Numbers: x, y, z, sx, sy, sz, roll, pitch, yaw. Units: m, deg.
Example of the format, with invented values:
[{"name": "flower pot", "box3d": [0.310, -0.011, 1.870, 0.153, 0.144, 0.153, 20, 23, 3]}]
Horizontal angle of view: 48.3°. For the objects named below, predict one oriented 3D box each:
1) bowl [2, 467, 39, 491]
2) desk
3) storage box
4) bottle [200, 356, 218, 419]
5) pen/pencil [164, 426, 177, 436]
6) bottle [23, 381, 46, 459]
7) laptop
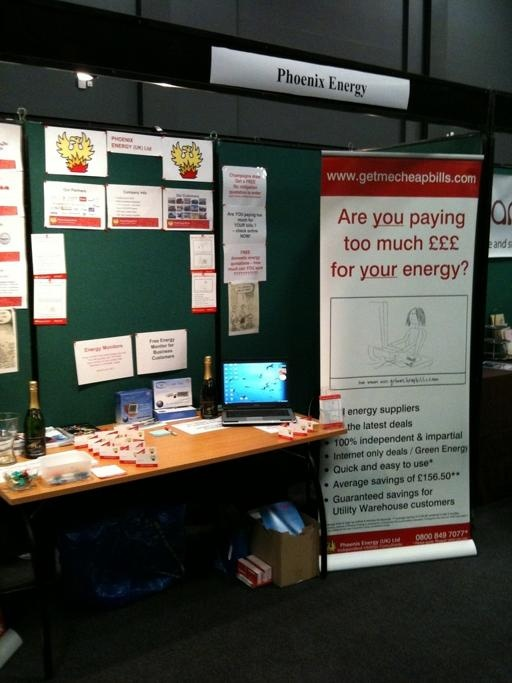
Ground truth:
[{"name": "bowl", "box3d": [-0.807, 0.465, 1.952, 0.108, 0.068, 0.119, 1, 7, 0]}, {"name": "desk", "box3d": [-0.335, 0.769, 2.355, 0.566, 0.753, 1.584, 7, 9, 44]}, {"name": "storage box", "box3d": [0.140, 1.003, 2.787, 0.238, 0.261, 0.285, -2, -2, -41]}, {"name": "bottle", "box3d": [-0.244, 0.229, 2.941, 0.082, 0.304, 0.173, 0, 6, -4]}, {"name": "pen/pencil", "box3d": [-0.406, 0.419, 2.694, 0.022, 0.024, 0.122, -21, 16, -27]}, {"name": "bottle", "box3d": [-0.900, 0.309, 2.299, 0.082, 0.303, 0.139, -2, 6, -21]}, {"name": "laptop", "box3d": [0.007, 0.238, 2.803, 0.362, 0.278, 0.287, -1, 5, -6]}]
